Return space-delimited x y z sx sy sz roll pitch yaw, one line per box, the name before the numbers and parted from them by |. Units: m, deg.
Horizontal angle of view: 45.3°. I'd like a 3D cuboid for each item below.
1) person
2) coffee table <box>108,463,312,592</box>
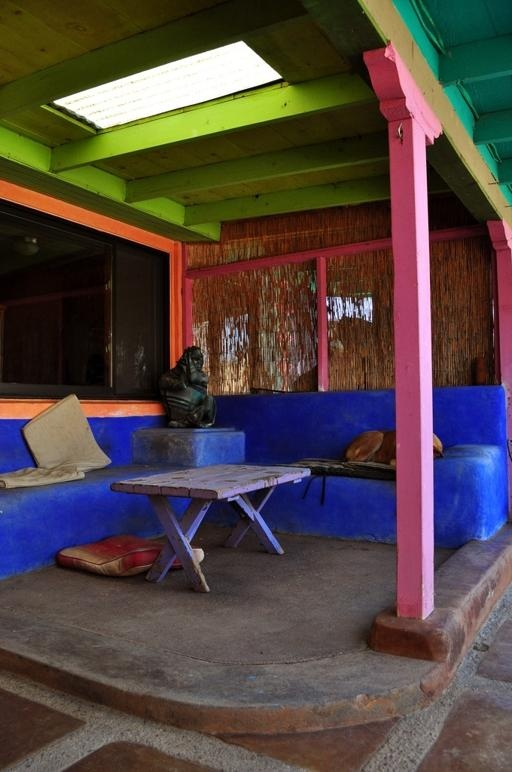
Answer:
person | -0.601 0.025 5.194 0.570 0.825 0.426 5 -18 -28
coffee table | -0.206 0.682 3.152 0.738 0.327 1.105 -4 -2 23
